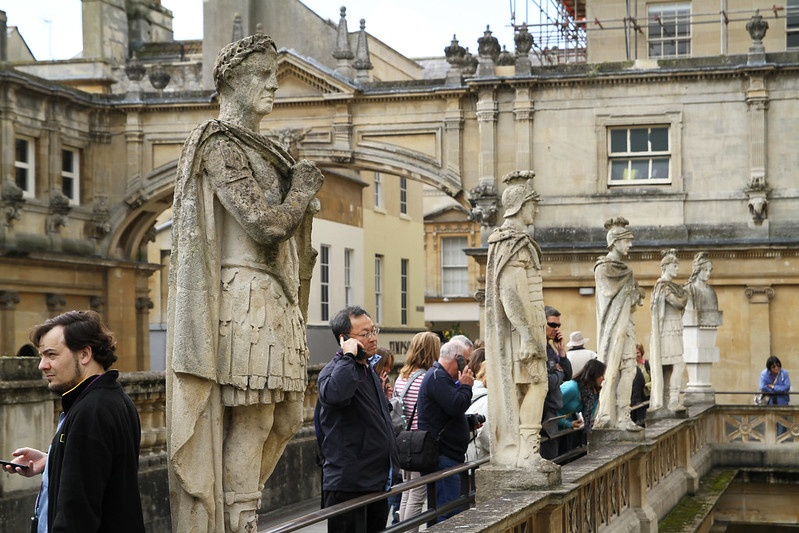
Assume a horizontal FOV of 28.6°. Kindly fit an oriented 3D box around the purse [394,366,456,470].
[{"bbox_3d":[0.381,2.707,24.662,1.007,1.202,0.574,-4,-20,41],"label":"purse"}]

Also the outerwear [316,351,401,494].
[{"bbox_3d":[-0.638,2.415,24.380,1.190,2.089,2.353,-1,-3,25],"label":"outerwear"}]

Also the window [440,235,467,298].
[{"bbox_3d":[2.432,-0.037,69.351,1.272,2.623,0.254,0,4,31],"label":"window"}]

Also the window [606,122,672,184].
[{"bbox_3d":[6.540,-3.076,42.477,1.783,1.528,0.245,1,-5,6],"label":"window"}]
